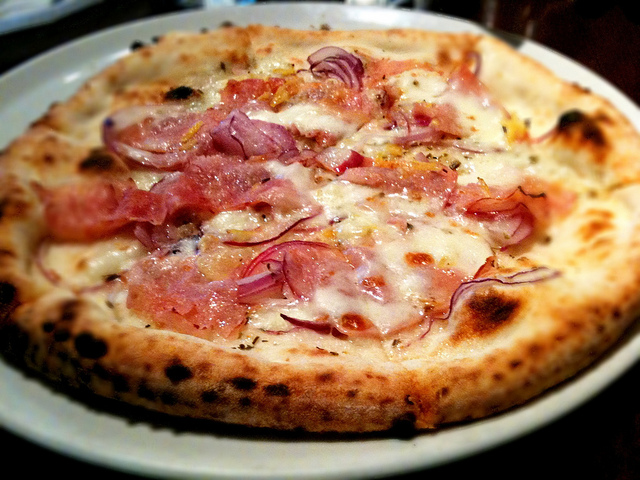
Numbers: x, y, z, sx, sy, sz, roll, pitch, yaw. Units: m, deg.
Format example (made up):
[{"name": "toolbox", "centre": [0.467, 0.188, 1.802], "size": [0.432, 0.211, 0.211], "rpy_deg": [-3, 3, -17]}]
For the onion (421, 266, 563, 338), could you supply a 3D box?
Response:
[{"name": "onion", "centre": [0.496, 0.190, 2.212], "size": [0.528, 0.523, 0.108], "rpy_deg": [1, 101, -5]}]

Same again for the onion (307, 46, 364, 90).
[{"name": "onion", "centre": [0.055, -0.625, 2.908], "size": [0.226, 0.058, 0.176], "rpy_deg": [-19, 67, -19]}]

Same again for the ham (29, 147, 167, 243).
[{"name": "ham", "centre": [-0.724, -0.137, 2.404], "size": [0.394, 0.067, 0.321], "rpy_deg": [16, 48, 22]}]

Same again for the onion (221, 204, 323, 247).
[{"name": "onion", "centre": [-0.133, -0.033, 2.368], "size": [0.315, 0.078, 0.065], "rpy_deg": [-26, 83, -5]}]

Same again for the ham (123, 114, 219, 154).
[{"name": "ham", "centre": [-0.520, -0.362, 2.638], "size": [0.373, 0.066, 0.192], "rpy_deg": [5, 19, 21]}]

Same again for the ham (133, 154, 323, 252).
[{"name": "ham", "centre": [-0.307, -0.144, 2.437], "size": [0.526, 0.081, 0.319], "rpy_deg": [-4, 51, -10]}]

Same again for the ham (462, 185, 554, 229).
[{"name": "ham", "centre": [0.637, -0.111, 2.399], "size": [0.237, 0.043, 0.183], "rpy_deg": [3, 22, 1]}]

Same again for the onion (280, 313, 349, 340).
[{"name": "onion", "centre": [-0.017, 0.250, 2.206], "size": [0.209, 0.012, 0.038], "rpy_deg": [15, 81, 2]}]
